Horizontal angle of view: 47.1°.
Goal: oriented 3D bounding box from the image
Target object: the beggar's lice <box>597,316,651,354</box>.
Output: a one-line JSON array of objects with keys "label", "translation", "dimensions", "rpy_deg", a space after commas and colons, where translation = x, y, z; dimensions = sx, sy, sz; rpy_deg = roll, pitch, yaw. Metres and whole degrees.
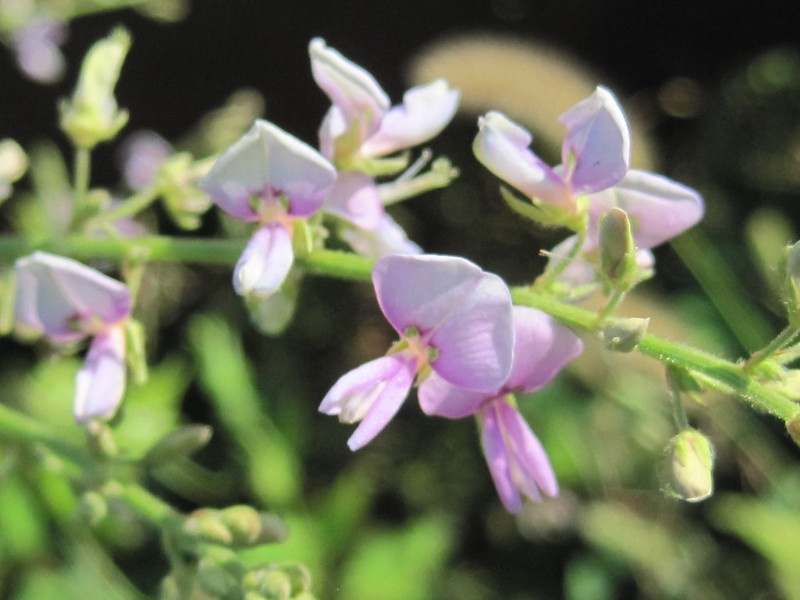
[{"label": "beggar's lice", "translation": [0.658, 0.104, 2.685], "dimensions": [0.050, 0.094, 0.153], "rpy_deg": [-33, -4, -37]}]

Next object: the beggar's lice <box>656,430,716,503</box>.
[{"label": "beggar's lice", "translation": [0.841, 0.490, 2.707], "dimensions": [0.165, 0.204, 0.076], "rpy_deg": [-6, -16, 35]}]

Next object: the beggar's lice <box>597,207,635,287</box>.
[{"label": "beggar's lice", "translation": [0.640, -0.153, 2.721], "dimensions": [0.088, 0.299, 0.098], "rpy_deg": [2, 35, 8]}]
